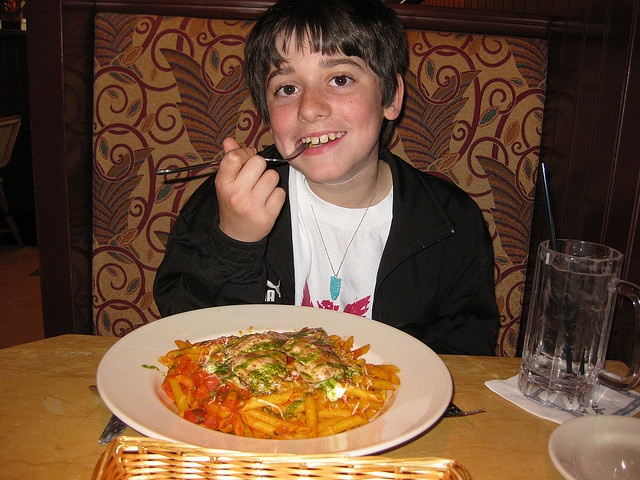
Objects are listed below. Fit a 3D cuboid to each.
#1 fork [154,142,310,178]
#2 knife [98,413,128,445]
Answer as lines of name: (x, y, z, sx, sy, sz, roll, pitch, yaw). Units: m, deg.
fork: (-0.298, -0.257, 1.663, 0.623, 0.096, 0.069, -8, 52, -16)
knife: (-0.392, 0.359, 0.982, 0.041, 0.020, 0.077, 11, 7, -4)
